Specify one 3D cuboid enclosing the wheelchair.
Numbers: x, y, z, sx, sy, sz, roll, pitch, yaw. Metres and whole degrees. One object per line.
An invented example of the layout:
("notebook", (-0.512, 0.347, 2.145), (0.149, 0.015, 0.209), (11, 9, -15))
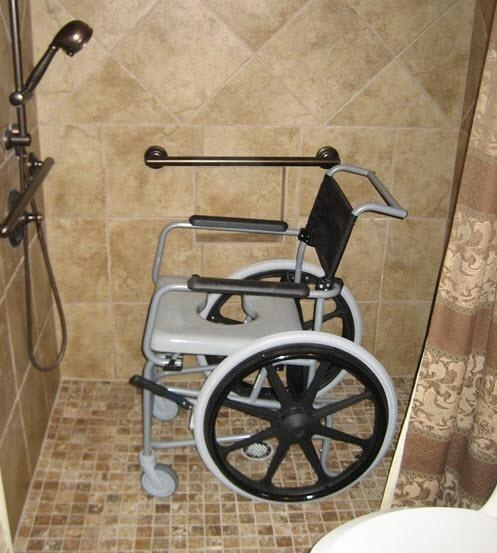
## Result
("wheelchair", (0.049, 0.084, 2.080), (1.078, 0.913, 1.280), (1, -69, -3))
